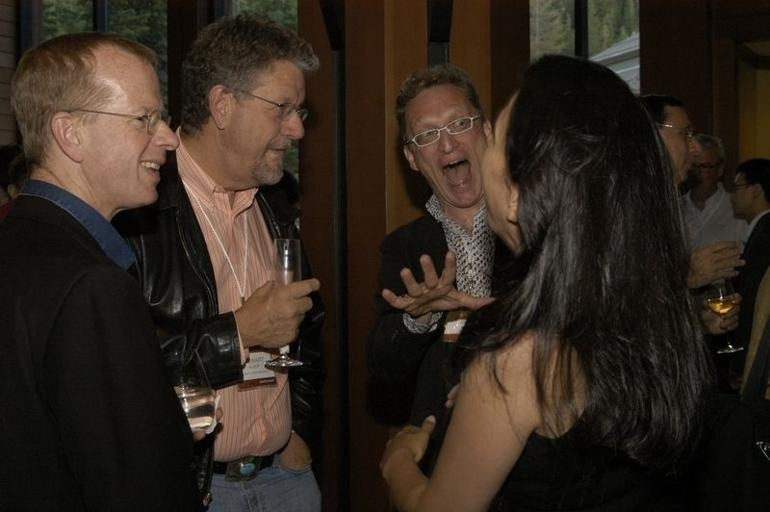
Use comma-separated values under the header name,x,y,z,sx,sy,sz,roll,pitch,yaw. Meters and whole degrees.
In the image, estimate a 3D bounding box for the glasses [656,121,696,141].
name,x,y,z,sx,sy,sz,roll,pitch,yaw
glasses,1.150,-0.497,2.950,0.173,0.060,0.178,3,-5,24

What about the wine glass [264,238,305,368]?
name,x,y,z,sx,sy,sz,roll,pitch,yaw
wine glass,-0.390,0.205,2.902,0.146,0.540,0.279,-2,5,1

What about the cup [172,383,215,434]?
name,x,y,z,sx,sy,sz,roll,pitch,yaw
cup,-0.601,0.467,2.393,0.145,0.154,0.145,0,4,0
